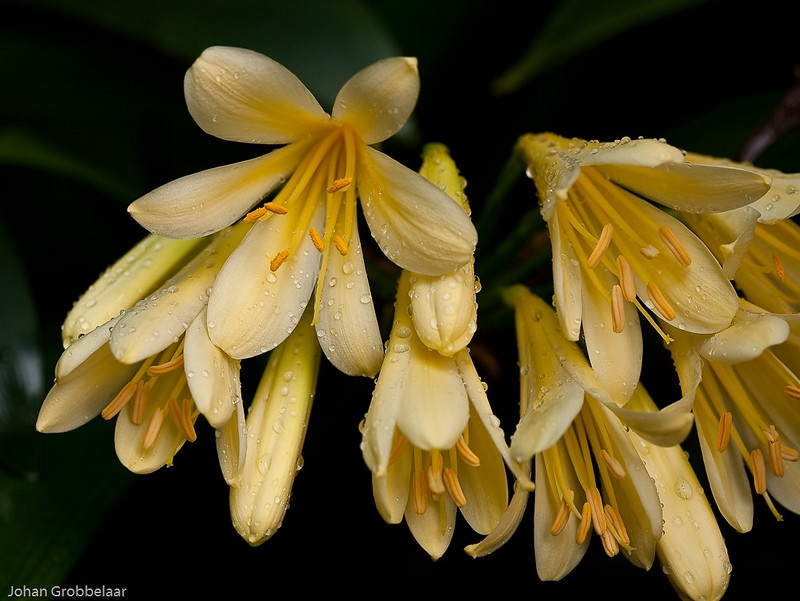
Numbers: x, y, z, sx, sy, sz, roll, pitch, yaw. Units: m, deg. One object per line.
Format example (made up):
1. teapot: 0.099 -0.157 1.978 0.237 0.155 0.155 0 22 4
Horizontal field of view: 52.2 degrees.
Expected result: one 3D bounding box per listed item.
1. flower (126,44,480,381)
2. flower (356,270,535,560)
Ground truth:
1. flower: -0.124 -0.140 1.152 0.442 0.517 0.141 -23 -5 -6
2. flower: 0.051 0.175 1.131 0.148 0.538 0.145 -6 -29 6
